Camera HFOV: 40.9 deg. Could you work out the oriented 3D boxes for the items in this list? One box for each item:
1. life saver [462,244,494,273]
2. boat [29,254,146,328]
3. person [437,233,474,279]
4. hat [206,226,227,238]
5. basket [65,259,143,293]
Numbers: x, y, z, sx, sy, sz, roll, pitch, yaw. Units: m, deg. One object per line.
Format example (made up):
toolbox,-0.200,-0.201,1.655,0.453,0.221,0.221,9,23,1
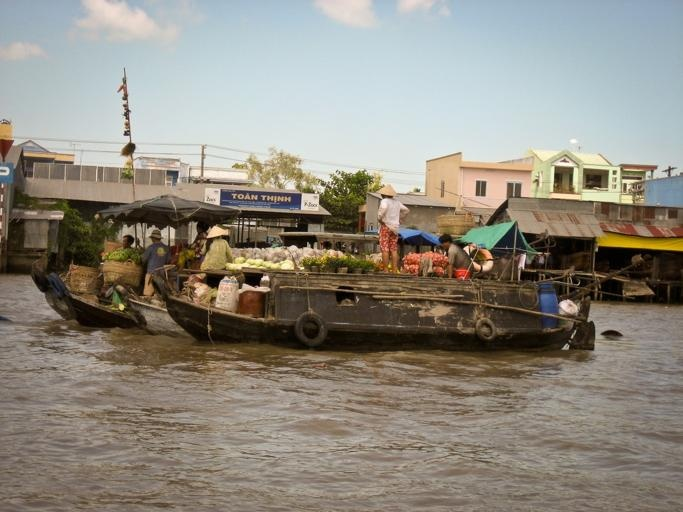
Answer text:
life saver,2.692,0.070,17.771,0.507,0.581,0.295,8,28,33
boat,-5.055,0.800,18.072,2.125,1.478,0.900,7,15,17
person,2.223,0.292,17.813,0.703,1.377,0.513,0,27,-1
hat,-2.359,-0.457,17.484,0.307,0.121,0.284,-14,15,-19
basket,-4.704,0.383,18.230,1.149,0.368,0.833,-4,-8,36
